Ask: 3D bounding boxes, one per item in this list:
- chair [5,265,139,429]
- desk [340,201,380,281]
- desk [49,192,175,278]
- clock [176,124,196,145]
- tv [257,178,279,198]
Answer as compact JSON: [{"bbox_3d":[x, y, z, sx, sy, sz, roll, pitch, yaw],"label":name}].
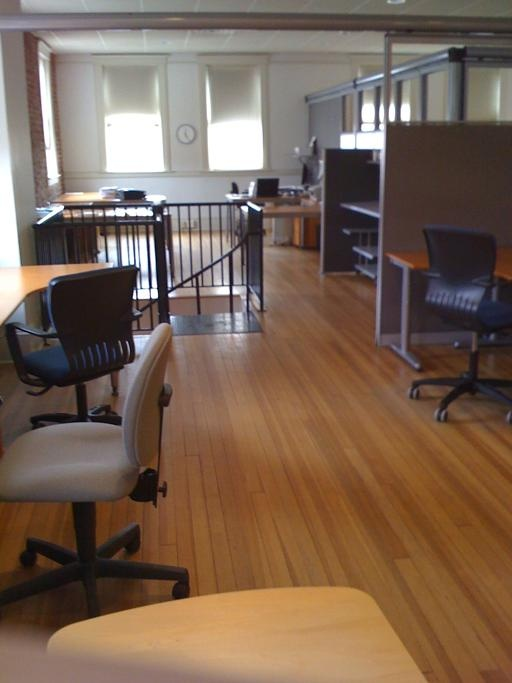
[{"bbox_3d":[-0.994,0.048,2.869,0.657,1.024,0.620,-14,34,-37],"label":"chair"},{"bbox_3d":[1.316,-1.303,6.754,0.528,0.809,1.074,0,22,0],"label":"desk"},{"bbox_3d":[-2.193,-1.792,8.209,1.558,0.969,5.416,-7,20,-18],"label":"desk"},{"bbox_3d":[-1.423,-4.189,10.886,0.422,0.406,0.064,0,18,1],"label":"clock"},{"bbox_3d":[0.173,-2.400,8.385,0.303,0.324,0.224,0,28,-2],"label":"tv"}]
